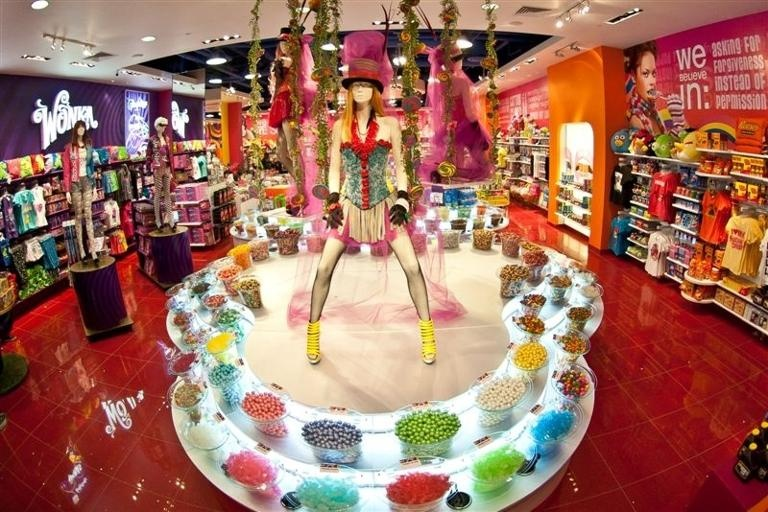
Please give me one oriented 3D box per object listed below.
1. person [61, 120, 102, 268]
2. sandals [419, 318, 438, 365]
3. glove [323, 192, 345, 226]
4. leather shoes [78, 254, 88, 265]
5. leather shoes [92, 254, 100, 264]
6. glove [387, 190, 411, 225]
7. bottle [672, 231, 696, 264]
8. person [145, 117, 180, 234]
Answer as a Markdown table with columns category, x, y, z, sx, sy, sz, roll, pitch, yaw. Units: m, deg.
| category | x | y | z | sx | sy | sz | roll | pitch | yaw |
| --- | --- | --- | --- | --- | --- | --- | --- | --- | --- |
| person | -4.494 | -0.960 | 6.040 | 0.454 | 2.033 | 0.663 | -14 | 18 | -37 |
| sandals | 0.453 | 0.852 | 4.138 | 0.133 | 0.201 | 0.473 | -3 | 52 | 6 |
| glove | -0.484 | -0.456 | 4.112 | 0.156 | 0.328 | 0.203 | 0 | -27 | -34 |
| leather shoes | -4.522 | 0.053 | 6.064 | 0.081 | 0.093 | 0.220 | -6 | 23 | -21 |
| leather shoes | -4.204 | 0.066 | 5.897 | 0.078 | 0.101 | 0.248 | -3 | 7 | -29 |
| glove | 0.173 | -0.474 | 4.088 | 0.218 | 0.353 | 0.126 | -12 | 5 | -2 |
| bottle | 4.867 | -0.124 | 6.494 | 0.272 | 0.521 | 0.414 | -3 | 12 | 4 |
| person | -4.046 | -1.469 | 7.369 | 0.515 | 1.951 | 0.760 | -11 | 16 | -28 |
